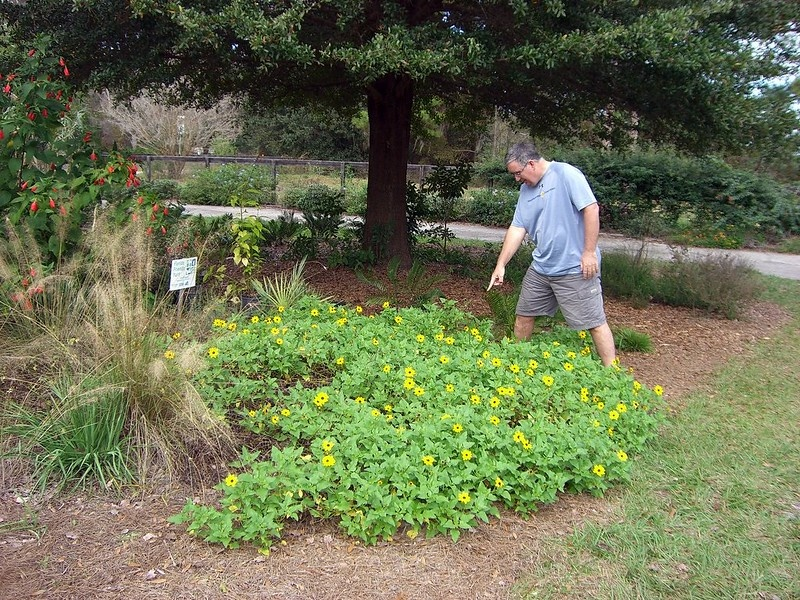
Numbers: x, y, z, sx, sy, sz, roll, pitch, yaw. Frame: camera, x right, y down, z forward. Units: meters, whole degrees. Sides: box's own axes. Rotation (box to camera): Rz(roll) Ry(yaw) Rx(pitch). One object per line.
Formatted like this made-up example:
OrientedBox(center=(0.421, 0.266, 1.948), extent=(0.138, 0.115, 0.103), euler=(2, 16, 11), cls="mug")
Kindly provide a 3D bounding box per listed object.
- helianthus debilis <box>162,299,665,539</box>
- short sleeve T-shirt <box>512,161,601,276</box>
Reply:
OrientedBox(center=(0.087, 0.849, 4.233), extent=(3.172, 0.934, 1.943), euler=(3, 13, -5), cls="helianthus debilis")
OrientedBox(center=(1.388, -0.714, 5.139), extent=(0.744, 1.004, 0.264), euler=(14, 16, 41), cls="short sleeve T-shirt")
